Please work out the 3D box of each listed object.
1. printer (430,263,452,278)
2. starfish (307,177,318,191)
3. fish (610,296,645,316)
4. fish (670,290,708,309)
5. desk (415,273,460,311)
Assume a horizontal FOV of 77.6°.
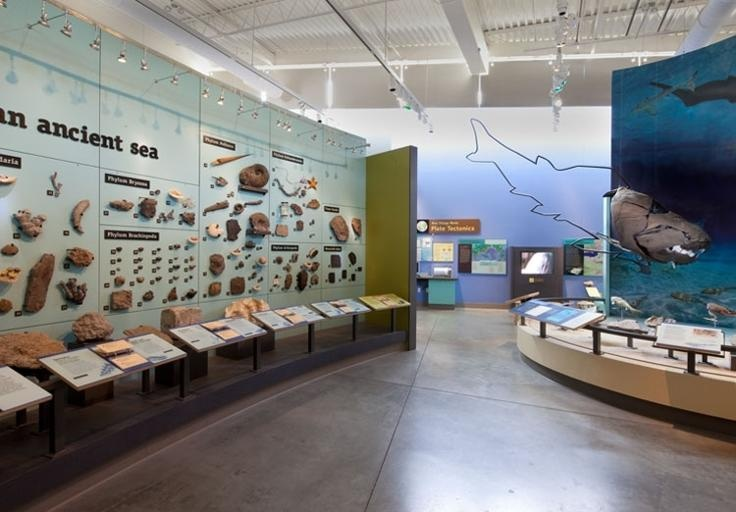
[{"bbox_3d":[2.274,0.425,14.087,0.747,0.517,0.385,2,3,19],"label":"printer"},{"bbox_3d":[-1.108,-1.432,9.003,0.065,0.213,0.235,4,7,9],"label":"starfish"},{"bbox_3d":[5.014,0.968,8.908,0.255,0.214,0.682,-12,20,-34],"label":"fish"},{"bbox_3d":[5.863,0.767,8.332,0.102,0.211,0.355,-34,22,-34],"label":"fish"},{"bbox_3d":[2.100,1.131,13.980,1.196,0.813,0.867,-4,-9,4],"label":"desk"}]
